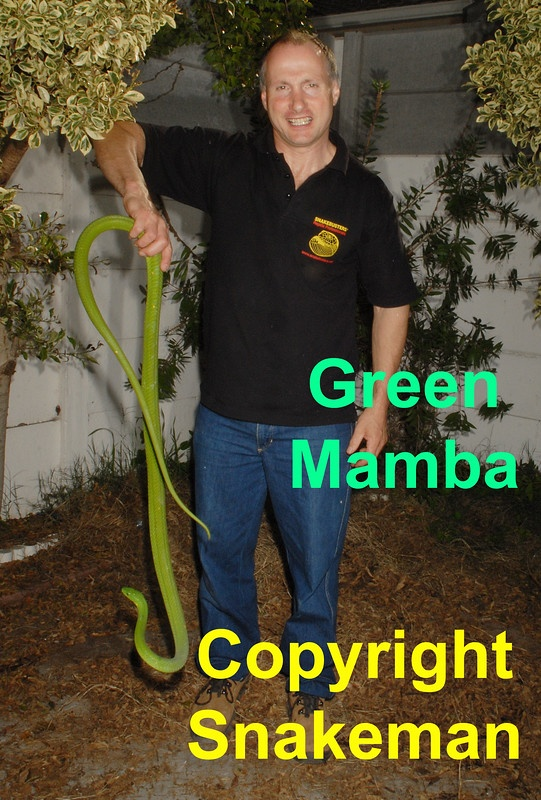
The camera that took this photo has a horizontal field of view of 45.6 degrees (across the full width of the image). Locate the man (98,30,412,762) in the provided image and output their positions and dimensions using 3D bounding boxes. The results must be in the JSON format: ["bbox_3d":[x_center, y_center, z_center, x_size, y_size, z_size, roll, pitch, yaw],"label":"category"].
[{"bbox_3d":[-0.039,0.003,1.838,0.925,1.948,0.627,-4,17,-23],"label":"man"}]

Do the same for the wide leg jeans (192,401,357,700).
[{"bbox_3d":[-0.005,0.462,2.081,0.471,1.037,0.285,6,23,11],"label":"wide leg jeans"}]

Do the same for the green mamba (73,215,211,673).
[{"bbox_3d":[-0.249,0.112,1.292,0.324,1.000,0.080,-3,7,1],"label":"green mamba"}]
